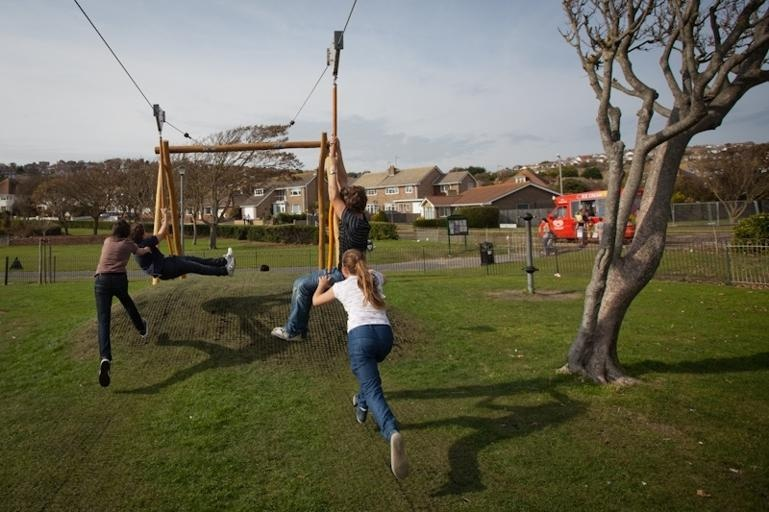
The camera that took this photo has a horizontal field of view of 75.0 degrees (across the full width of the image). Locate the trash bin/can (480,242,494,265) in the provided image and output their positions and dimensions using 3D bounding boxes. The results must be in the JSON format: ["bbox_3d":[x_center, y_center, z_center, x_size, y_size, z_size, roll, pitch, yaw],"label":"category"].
[{"bbox_3d":[4.907,-0.058,23.948,0.593,1.195,1.072,0,15,2],"label":"trash bin/can"}]

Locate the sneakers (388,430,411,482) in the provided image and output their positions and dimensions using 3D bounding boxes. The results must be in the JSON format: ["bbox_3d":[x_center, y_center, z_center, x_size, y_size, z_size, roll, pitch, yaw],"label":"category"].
[{"bbox_3d":[0.161,2.423,6.079,0.234,0.595,0.232,-14,-1,-11],"label":"sneakers"}]

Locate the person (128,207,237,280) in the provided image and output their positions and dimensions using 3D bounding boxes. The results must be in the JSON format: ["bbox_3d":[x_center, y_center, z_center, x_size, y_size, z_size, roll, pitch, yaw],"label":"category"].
[{"bbox_3d":[-4.097,-0.219,10.230,1.907,1.419,0.856,-1,3,-30],"label":"person"}]

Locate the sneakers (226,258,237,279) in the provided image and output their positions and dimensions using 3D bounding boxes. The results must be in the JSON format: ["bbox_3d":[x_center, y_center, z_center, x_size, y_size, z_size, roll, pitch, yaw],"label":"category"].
[{"bbox_3d":[-3.383,0.285,11.029,0.228,0.550,0.179,8,-10,-40],"label":"sneakers"}]

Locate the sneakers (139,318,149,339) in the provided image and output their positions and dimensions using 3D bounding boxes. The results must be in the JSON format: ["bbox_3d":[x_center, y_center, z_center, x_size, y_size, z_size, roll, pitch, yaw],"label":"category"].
[{"bbox_3d":[-4.576,1.409,9.561,0.156,0.481,0.189,-3,-5,21],"label":"sneakers"}]

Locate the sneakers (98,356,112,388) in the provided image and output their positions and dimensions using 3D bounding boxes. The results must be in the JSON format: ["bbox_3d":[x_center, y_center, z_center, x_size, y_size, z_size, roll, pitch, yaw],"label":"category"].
[{"bbox_3d":[-4.538,1.893,8.144,0.156,0.423,0.228,-5,15,-18],"label":"sneakers"}]
